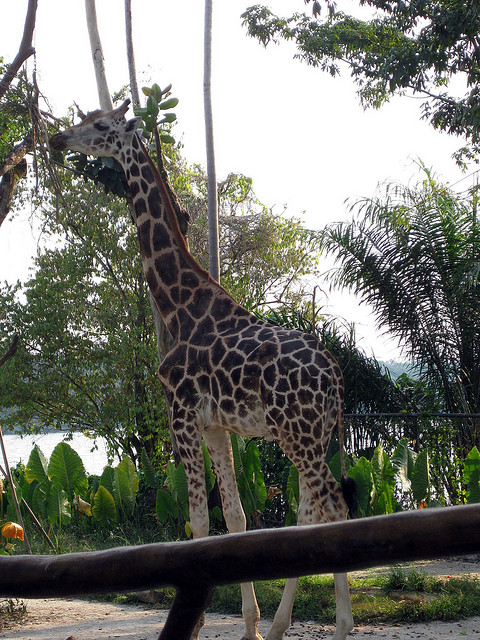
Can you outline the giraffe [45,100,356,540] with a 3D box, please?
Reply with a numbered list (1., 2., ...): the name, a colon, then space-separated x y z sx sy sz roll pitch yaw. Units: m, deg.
1. giraffe: -0.154 -0.144 4.244 1.476 2.527 0.553 -10 -9 37
